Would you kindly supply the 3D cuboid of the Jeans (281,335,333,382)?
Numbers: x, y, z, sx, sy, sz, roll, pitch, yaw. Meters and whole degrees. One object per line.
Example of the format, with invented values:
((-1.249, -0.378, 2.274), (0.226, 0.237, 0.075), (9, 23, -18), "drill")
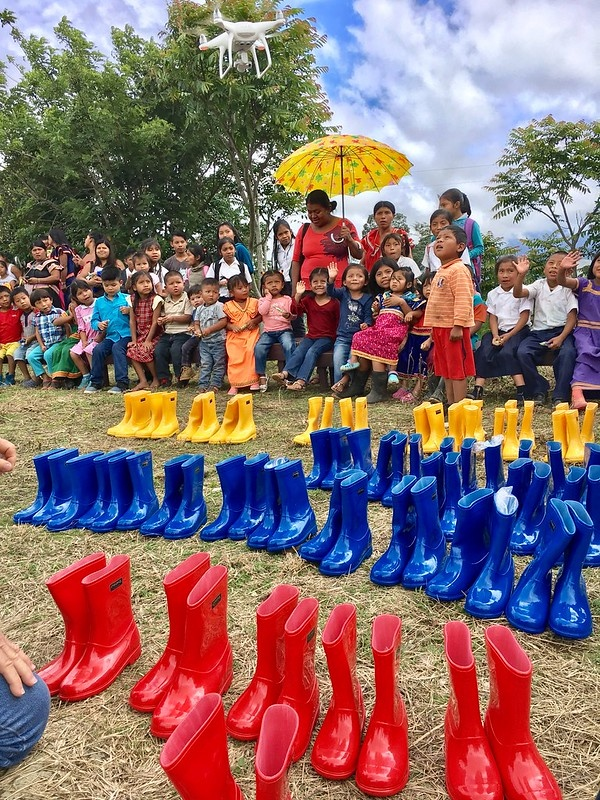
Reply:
((0.082, -0.367, 5.878), (0.471, 0.418, 0.374), (2, 7, 19), "Jeans")

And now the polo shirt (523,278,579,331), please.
((2.005, -0.759, 5.109), (0.413, 0.418, 0.207), (10, 30, 17), "polo shirt")

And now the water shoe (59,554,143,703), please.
((-0.612, 0.681, 1.917), (0.148, 0.330, 0.346), (-3, 8, 20), "water shoe")

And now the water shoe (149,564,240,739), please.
((-0.291, 0.701, 1.765), (0.150, 0.330, 0.413), (4, 13, 16), "water shoe")

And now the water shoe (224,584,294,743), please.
((-0.095, 0.719, 1.738), (0.123, 0.299, 0.323), (3, 8, 22), "water shoe")

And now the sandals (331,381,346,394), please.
((0.357, -0.103, 5.567), (0.062, 0.066, 0.160), (-21, -1, -5), "sandals")

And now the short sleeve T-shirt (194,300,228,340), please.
((-0.856, -0.777, 6.328), (0.367, 0.428, 0.230), (-7, 0, 30), "short sleeve T-shirt")

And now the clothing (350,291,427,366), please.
((0.705, -0.607, 5.480), (0.465, 0.623, 0.361), (1, 7, 13), "clothing")

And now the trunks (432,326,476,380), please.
((1.129, -0.342, 4.615), (0.243, 0.456, 0.353), (-12, 13, -29), "trunks")

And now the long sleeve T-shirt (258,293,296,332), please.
((-0.186, -0.771, 6.233), (0.423, 0.477, 0.308), (-1, -7, 9), "long sleeve T-shirt")

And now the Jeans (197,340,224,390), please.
((-0.873, -0.382, 6.335), (0.242, 0.557, 0.180), (2, 1, 9), "Jeans")

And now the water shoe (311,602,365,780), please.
((0.101, 0.741, 1.610), (0.116, 0.312, 0.321), (-5, 2, 13), "water shoe")

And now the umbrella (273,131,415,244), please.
((0.443, -2.007, 5.916), (1.169, 0.844, 1.143), (-6, -4, 36), "umbrella")

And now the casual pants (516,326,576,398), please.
((1.943, -0.269, 4.982), (0.487, 0.744, 0.504), (-1, 0, 21), "casual pants")
